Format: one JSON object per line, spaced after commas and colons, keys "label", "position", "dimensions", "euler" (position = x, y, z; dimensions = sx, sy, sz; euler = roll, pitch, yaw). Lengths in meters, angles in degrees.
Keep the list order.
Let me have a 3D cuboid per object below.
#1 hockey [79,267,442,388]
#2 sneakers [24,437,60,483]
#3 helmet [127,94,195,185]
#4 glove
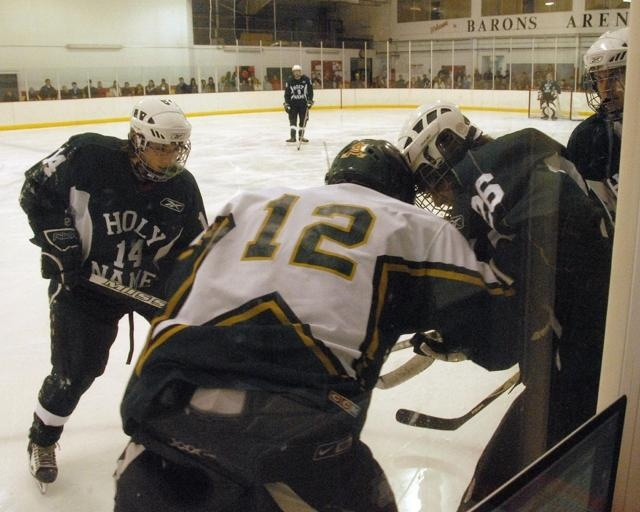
{"label": "hockey", "position": [-0.106, 0.133, 1.055], "dimensions": [0.368, 0.110, 0.353], "euler": [0, 19, -34]}
{"label": "sneakers", "position": [-0.752, 0.530, 1.519], "dimensions": [0.067, 0.095, 0.222], "euler": [4, 5, -28]}
{"label": "helmet", "position": [-0.484, -0.389, 1.791], "dimensions": [0.244, 0.247, 0.193], "euler": [35, 37, 30]}
{"label": "glove", "position": [-0.773, -0.032, 1.657], "dimensions": [0.151, 0.195, 0.080], "euler": [2, 6, 8]}
